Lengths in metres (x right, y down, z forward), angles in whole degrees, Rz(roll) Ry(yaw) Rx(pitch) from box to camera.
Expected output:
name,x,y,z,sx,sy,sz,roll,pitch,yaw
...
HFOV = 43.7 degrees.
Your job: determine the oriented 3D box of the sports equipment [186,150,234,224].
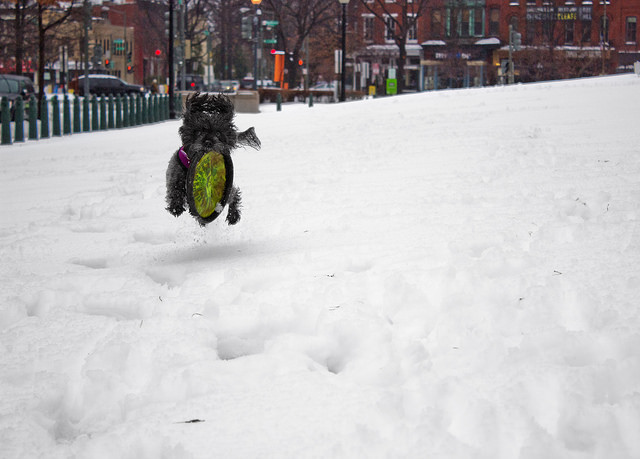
name,x,y,z,sx,sy,sz,roll,pitch,yaw
sports equipment,-1.193,-0.473,8.387,0.117,0.763,0.602,13,4,34
